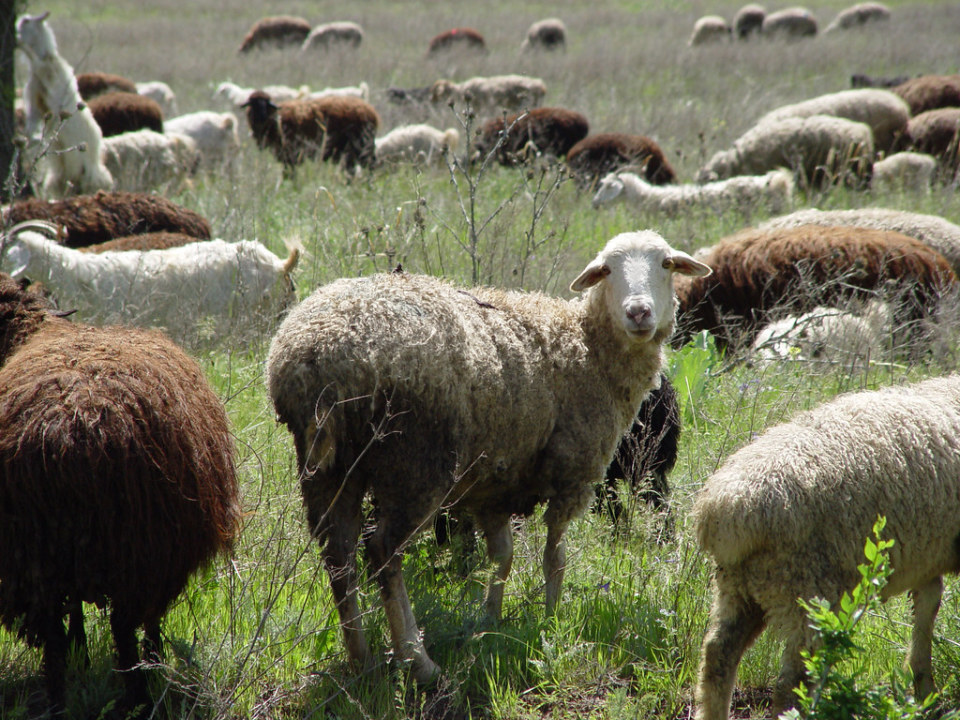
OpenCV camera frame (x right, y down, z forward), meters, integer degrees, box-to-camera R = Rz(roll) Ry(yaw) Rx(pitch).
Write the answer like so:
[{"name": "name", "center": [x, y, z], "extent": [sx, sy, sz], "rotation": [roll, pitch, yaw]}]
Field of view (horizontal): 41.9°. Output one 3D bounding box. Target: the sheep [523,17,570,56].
[{"name": "sheep", "center": [1.695, -8.804, 34.030], "extent": [0.731, 1.382, 1.780], "rotation": [-3, 18, -20]}]

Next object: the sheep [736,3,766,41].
[{"name": "sheep", "center": [7.230, -9.076, 33.735], "extent": [0.785, 0.779, 1.890], "rotation": [4, 15, 17]}]

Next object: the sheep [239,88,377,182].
[{"name": "sheep", "center": [-2.143, -3.080, 16.526], "extent": [2.159, 1.504, 0.934], "rotation": [2, 0, -18]}]

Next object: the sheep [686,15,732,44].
[{"name": "sheep", "center": [5.997, -8.470, 32.311], "extent": [0.989, 0.691, 1.052], "rotation": [-9, 11, -24]}]

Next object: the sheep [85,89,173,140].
[{"name": "sheep", "center": [-4.595, -3.225, 16.506], "extent": [0.978, 0.838, 0.520], "rotation": [-2, 5, -7]}]

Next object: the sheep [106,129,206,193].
[{"name": "sheep", "center": [-3.831, -2.310, 14.594], "extent": [1.277, 0.910, 0.711], "rotation": [2, 4, 9]}]

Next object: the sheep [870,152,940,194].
[{"name": "sheep", "center": [5.207, -2.310, 15.424], "extent": [0.706, 0.373, 1.231], "rotation": [6, 16, 22]}]
